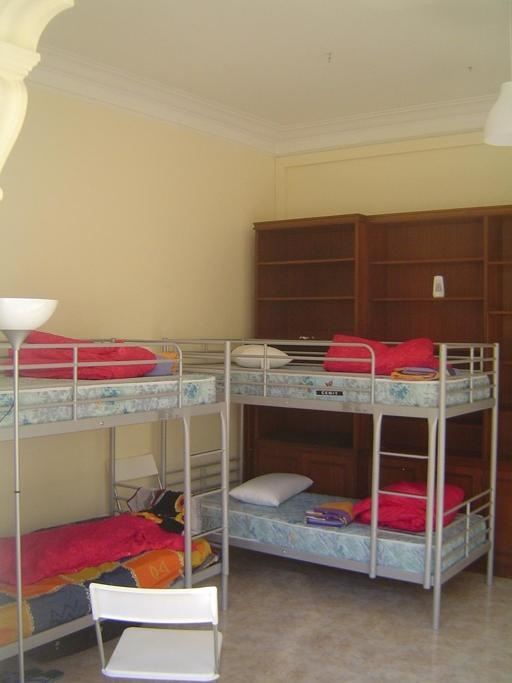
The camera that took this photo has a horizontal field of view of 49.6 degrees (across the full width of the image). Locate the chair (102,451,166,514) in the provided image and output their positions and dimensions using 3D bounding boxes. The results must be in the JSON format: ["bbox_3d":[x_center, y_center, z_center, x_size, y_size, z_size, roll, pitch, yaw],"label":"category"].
[{"bbox_3d":[-0.879,1.027,4.034,0.502,0.491,0.386,1,-2,-40],"label":"chair"}]

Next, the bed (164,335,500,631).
[{"bbox_3d":[0.561,0.978,3.766,1.884,1.552,0.975,0,0,32],"label":"bed"}]

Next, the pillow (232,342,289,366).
[{"bbox_3d":[0.017,0.118,4.200,0.263,0.104,0.238,3,6,-7],"label":"pillow"}]
